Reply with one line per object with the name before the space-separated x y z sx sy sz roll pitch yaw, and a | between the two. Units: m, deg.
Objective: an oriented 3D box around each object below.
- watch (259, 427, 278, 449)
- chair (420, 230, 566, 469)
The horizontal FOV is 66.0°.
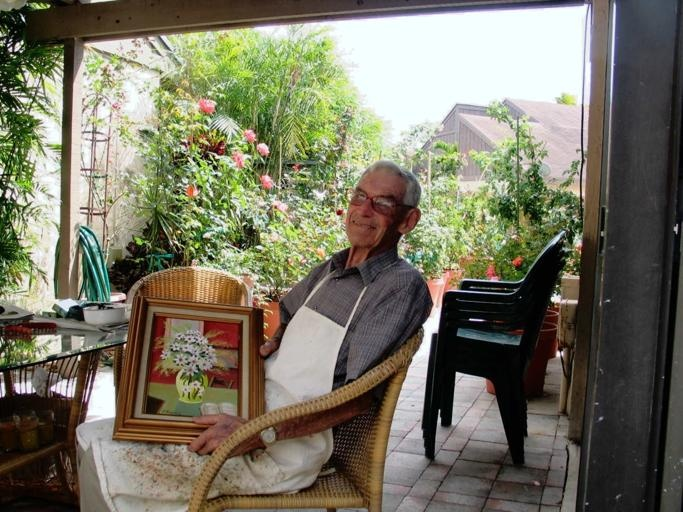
watch | -0.224 0.549 1.611 0.054 0.066 0.031 1 6 -3
chair | 0.936 0.520 3.281 0.751 1.359 0.756 3 6 17
